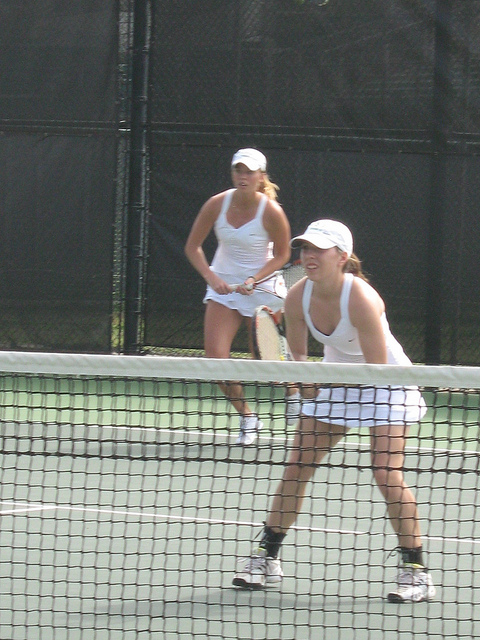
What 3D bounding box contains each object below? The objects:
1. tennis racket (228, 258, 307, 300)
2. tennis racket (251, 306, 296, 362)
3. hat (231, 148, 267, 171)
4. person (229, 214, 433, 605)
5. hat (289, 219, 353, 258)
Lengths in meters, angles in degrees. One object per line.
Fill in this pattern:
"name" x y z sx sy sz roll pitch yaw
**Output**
"tennis racket" 0.104 -0.210 5.493 0.479 0.123 0.211 -6 -20 13
"tennis racket" 0.134 0.049 4.934 0.128 0.308 0.020 -3 8 16
"hat" 0.046 -0.801 5.187 0.155 0.133 0.267 1 2 2
"person" 0.433 0.263 4.340 0.749 1.337 2.440 1 2 8
"hat" 0.293 -0.293 3.585 0.206 0.098 0.133 26 -22 -34
